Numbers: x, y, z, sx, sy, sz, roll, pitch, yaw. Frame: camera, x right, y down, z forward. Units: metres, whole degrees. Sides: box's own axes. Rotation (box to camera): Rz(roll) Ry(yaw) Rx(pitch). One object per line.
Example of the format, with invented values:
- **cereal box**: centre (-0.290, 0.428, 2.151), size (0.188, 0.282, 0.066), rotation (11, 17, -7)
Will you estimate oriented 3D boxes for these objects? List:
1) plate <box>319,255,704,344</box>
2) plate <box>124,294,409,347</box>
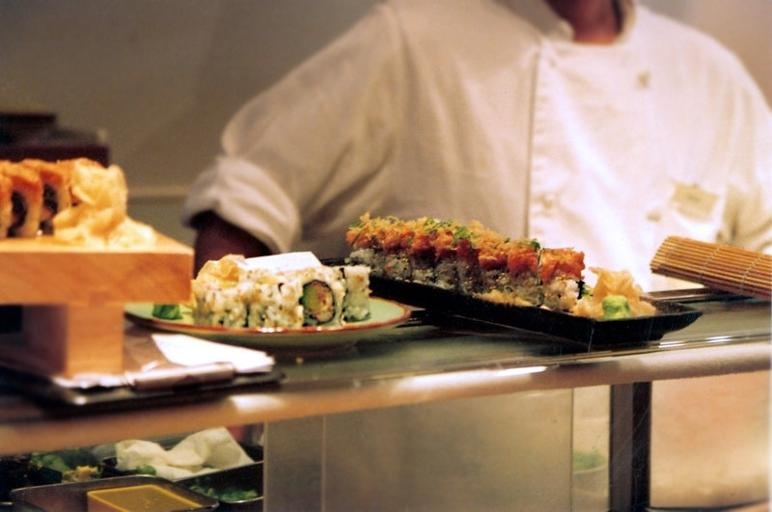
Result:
- **plate**: centre (0.264, 0.106, 1.703), size (0.675, 0.150, 0.207), rotation (-3, -4, 29)
- **plate**: centre (-0.215, 0.124, 1.563), size (0.527, 0.086, 0.249), rotation (-1, -3, -7)
